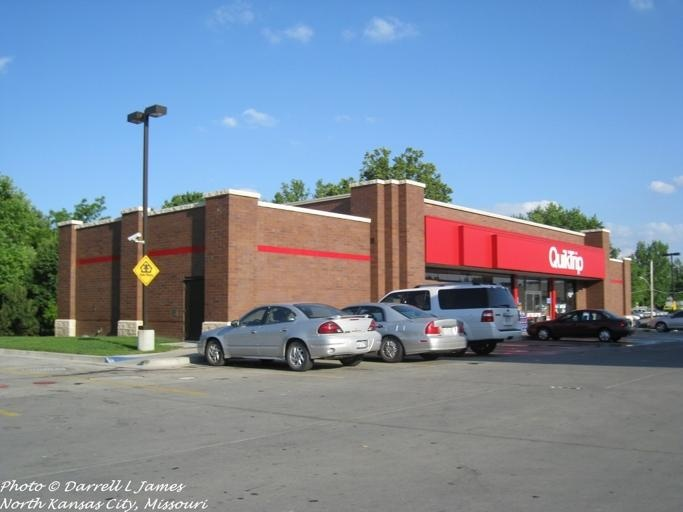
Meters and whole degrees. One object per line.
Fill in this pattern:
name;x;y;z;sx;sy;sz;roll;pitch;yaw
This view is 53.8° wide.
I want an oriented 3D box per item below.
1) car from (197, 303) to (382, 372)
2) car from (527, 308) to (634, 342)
car;-1.581;2.191;18.229;4.829;1.706;1.830;-7;-10;38
car;10.515;3.119;29.878;4.034;1.401;0.846;-7;-10;37
